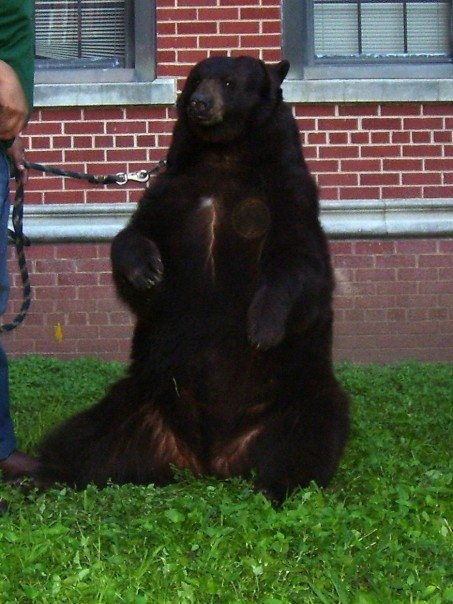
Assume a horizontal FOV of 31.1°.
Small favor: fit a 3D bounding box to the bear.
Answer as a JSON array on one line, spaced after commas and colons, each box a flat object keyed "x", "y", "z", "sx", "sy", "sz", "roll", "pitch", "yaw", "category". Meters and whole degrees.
[{"x": -0.046, "y": -0.084, "z": 2.889, "sx": 0.999, "sy": 1.574, "sz": 0.531, "roll": 7, "pitch": 15, "yaw": 16, "category": "bear"}]
